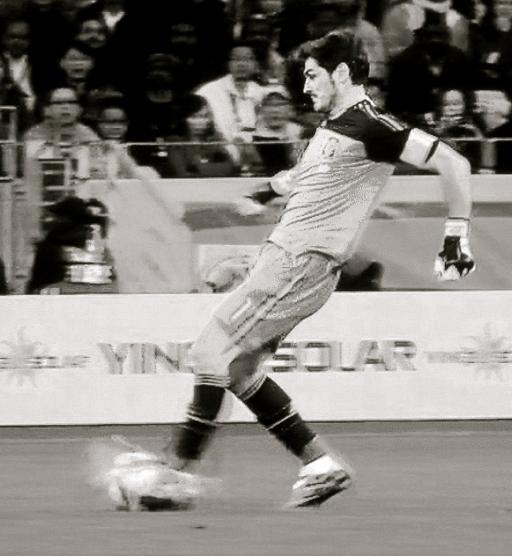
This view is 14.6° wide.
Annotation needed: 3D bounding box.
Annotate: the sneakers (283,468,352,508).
[{"bbox_3d":[0.328,1.087,10.298,0.315,0.170,0.101,-14,-5,-8],"label":"sneakers"}]
